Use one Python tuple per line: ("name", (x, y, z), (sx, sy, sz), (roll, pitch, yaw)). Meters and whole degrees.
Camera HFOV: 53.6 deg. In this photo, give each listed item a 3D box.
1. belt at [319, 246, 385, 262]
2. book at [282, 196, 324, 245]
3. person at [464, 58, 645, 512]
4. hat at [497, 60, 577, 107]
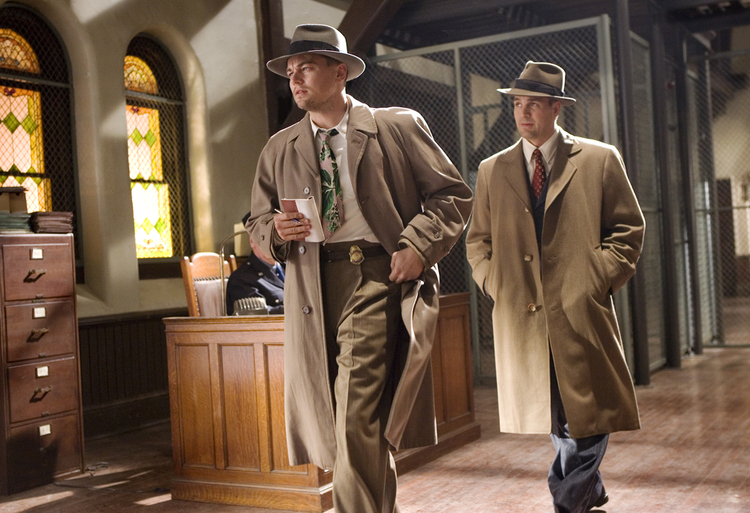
("belt", (-0.117, -0.013, 3.972), (0.348, 0.093, 0.060), (-4, -1, 5))
("book", (-0.378, -0.195, 3.940), (0.208, 0.235, 0.162), (-4, 0, -1))
("person", (1.110, 0.173, 4.554), (1.036, 2.784, 0.354), (-4, -1, 20))
("hat", (1.083, -1.069, 4.740), (0.360, 0.171, 0.429), (13, -8, 25))
